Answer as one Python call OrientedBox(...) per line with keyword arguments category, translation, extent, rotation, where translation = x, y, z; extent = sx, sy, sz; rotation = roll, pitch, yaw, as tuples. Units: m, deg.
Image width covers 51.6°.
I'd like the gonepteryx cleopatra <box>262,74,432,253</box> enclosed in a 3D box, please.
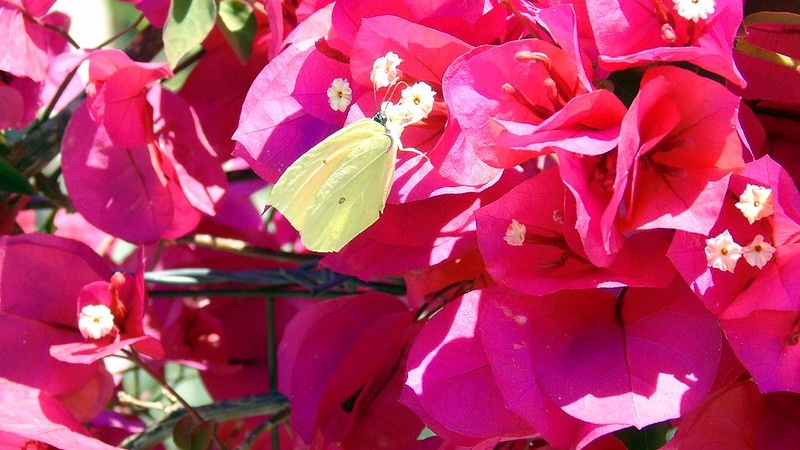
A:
OrientedBox(category="gonepteryx cleopatra", translation=(-0.051, -0.072, 0.767), extent=(0.176, 0.124, 0.090), rotation=(-7, -9, 43))
